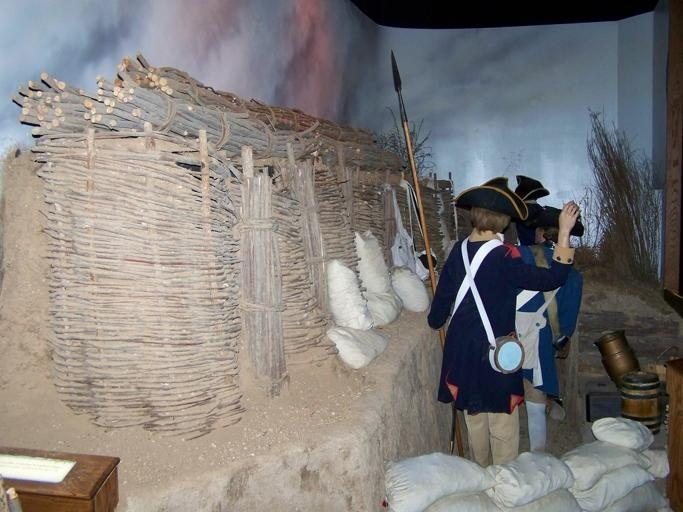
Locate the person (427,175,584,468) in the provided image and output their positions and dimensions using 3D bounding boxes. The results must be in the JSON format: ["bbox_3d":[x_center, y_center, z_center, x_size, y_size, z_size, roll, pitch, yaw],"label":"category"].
[{"bbox_3d":[1.126,0.493,4.178,1.036,1.673,0.541,-4,-2,18],"label":"person"}]

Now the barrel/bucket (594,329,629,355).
[{"bbox_3d":[2.739,0.858,5.967,0.284,0.222,0.296,-22,-5,-2],"label":"barrel/bucket"}]
